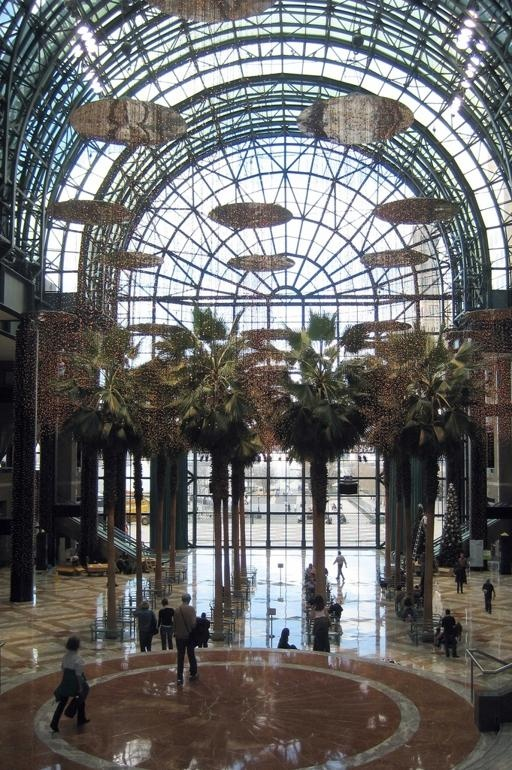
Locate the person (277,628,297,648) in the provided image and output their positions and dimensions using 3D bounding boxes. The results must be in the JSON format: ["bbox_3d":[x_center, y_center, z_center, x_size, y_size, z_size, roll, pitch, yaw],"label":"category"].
[{"bbox_3d":[0.615,5.295,16.569,0.376,0.396,1.115,-1,-9,0],"label":"person"}]

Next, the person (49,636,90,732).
[{"bbox_3d":[-2.507,3.908,10.525,0.479,1.226,1.388,1,-9,-12],"label":"person"}]

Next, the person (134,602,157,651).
[{"bbox_3d":[-2.270,4.903,16.132,0.427,1.098,1.783,0,-9,-8],"label":"person"}]

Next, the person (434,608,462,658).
[{"bbox_3d":[4.214,5.332,17.225,0.514,0.936,1.354,-3,-9,12],"label":"person"}]

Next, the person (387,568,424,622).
[{"bbox_3d":[4.156,5.778,21.082,0.702,0.940,1.647,-1,-29,4],"label":"person"}]

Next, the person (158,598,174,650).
[{"bbox_3d":[-1.852,4.927,16.155,0.367,1.163,0.310,-1,4,-13],"label":"person"}]

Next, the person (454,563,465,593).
[{"bbox_3d":[6.877,6.430,26.491,0.318,0.922,1.205,-3,-9,13],"label":"person"}]
